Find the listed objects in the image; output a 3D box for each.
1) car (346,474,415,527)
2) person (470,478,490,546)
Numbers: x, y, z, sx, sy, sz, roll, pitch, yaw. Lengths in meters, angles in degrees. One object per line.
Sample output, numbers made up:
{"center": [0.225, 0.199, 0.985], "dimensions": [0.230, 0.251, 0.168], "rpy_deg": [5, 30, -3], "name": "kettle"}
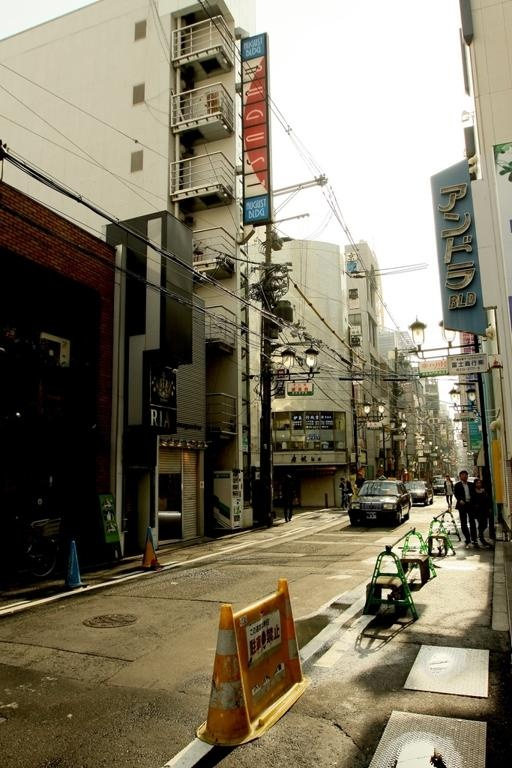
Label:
{"center": [4.063, 3.956, 20.229], "dimensions": [1.563, 1.452, 2.317], "rpy_deg": [-10, -9, 25], "name": "car"}
{"center": [5.202, 2.928, 14.111], "dimensions": [0.336, 1.475, 1.174], "rpy_deg": [-8, -8, 20], "name": "person"}
